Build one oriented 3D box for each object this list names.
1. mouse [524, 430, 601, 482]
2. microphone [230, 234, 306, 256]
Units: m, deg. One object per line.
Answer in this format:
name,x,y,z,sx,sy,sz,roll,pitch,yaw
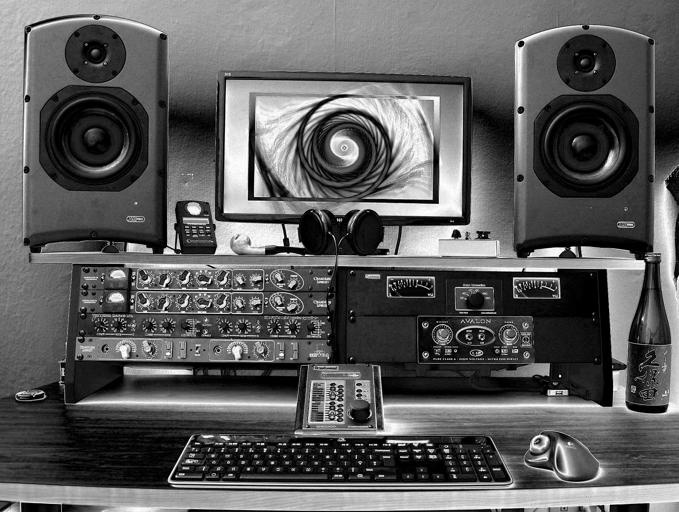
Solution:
mouse,0.526,0.480,1.683,0.110,0.042,0.131,-17,25,-30
microphone,-0.214,-0.028,2.124,0.214,0.073,0.108,-3,13,-13
